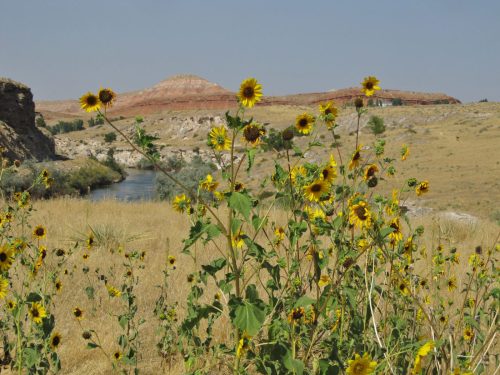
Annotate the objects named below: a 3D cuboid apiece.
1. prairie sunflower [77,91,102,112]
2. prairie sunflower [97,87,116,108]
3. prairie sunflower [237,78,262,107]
[{"bbox_3d":[-3.085,-1.640,12.524,0.443,0.400,0.352,9,15,35],"label":"prairie sunflower"},{"bbox_3d":[-2.738,-1.730,12.527,0.325,0.319,0.363,-6,14,-28],"label":"prairie sunflower"},{"bbox_3d":[-0.007,-1.798,12.395,0.439,0.534,0.413,0,12,-3],"label":"prairie sunflower"}]
